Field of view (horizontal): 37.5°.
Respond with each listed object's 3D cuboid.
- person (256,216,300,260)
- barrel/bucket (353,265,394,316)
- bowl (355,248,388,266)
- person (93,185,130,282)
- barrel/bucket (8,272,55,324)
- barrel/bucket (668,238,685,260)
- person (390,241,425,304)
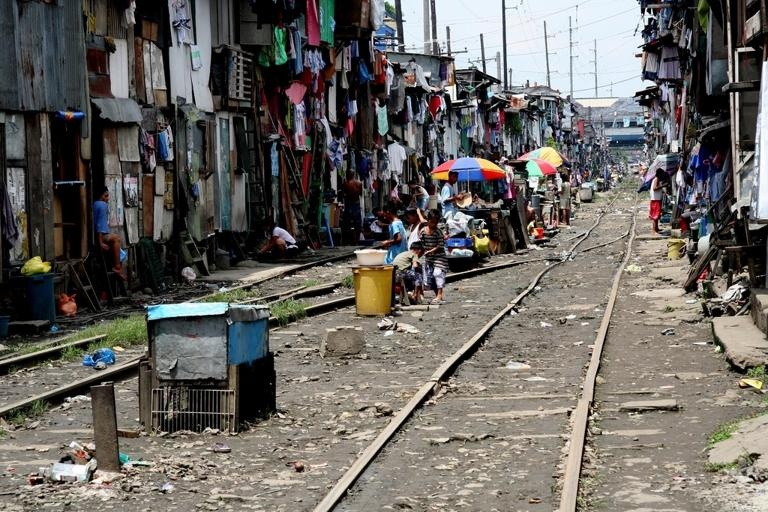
[{"bbox_3d":[-3.163,-0.404,32.899,1.322,1.196,0.840,-2,0,-11],"label":"person"},{"bbox_3d":[-0.204,0.718,22.518,0.844,0.934,0.972,0,-4,1],"label":"barrel/bucket"},{"bbox_3d":[-0.243,0.048,22.651,0.570,0.319,0.549,-4,4,0],"label":"bowl"},{"bbox_3d":[-5.928,-0.474,24.445,0.553,2.025,1.142,-5,4,-10],"label":"person"},{"bbox_3d":[-6.585,0.804,21.415,0.900,0.874,0.821,-1,-5,0],"label":"barrel/bucket"},{"bbox_3d":[8.165,-0.171,31.892,0.520,0.517,0.518,1,-9,0],"label":"barrel/bucket"},{"bbox_3d":[0.523,0.378,23.973,0.620,1.325,0.807,-4,4,1],"label":"person"}]
